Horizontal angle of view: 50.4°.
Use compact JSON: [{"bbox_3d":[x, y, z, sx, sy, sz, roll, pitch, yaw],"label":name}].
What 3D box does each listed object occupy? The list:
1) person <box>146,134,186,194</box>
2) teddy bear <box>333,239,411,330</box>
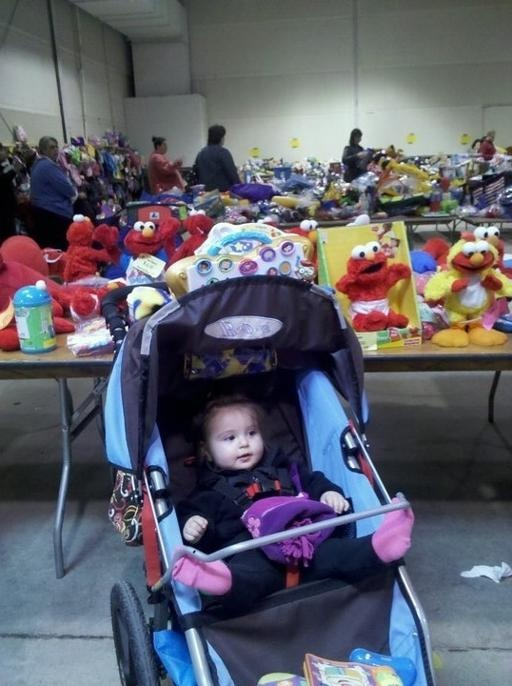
[{"bbox_3d":[-1.149,-2.281,6.904,0.464,0.716,1.235,-5,18,-8],"label":"person"},{"bbox_3d":[0.357,-0.170,1.678,0.303,0.303,0.173,-6,8,-13],"label":"teddy bear"}]
